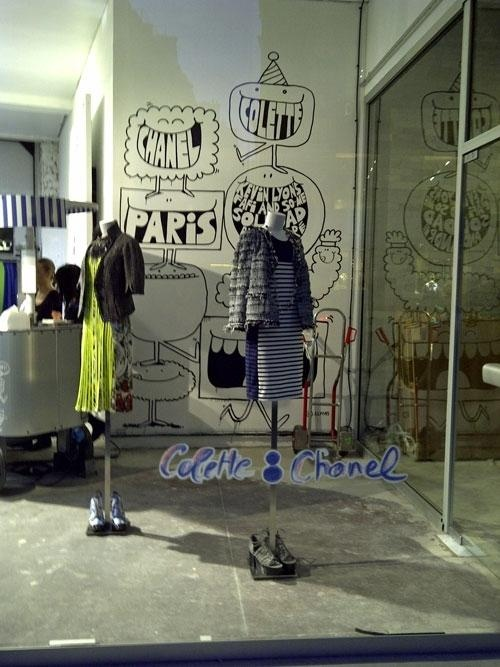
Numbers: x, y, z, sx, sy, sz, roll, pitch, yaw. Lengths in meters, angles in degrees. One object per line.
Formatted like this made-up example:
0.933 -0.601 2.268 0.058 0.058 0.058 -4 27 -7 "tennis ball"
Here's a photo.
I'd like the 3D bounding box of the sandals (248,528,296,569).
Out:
0.073 0.804 2.634 0.094 0.064 0.162 -1 3 -23 "sandals"
